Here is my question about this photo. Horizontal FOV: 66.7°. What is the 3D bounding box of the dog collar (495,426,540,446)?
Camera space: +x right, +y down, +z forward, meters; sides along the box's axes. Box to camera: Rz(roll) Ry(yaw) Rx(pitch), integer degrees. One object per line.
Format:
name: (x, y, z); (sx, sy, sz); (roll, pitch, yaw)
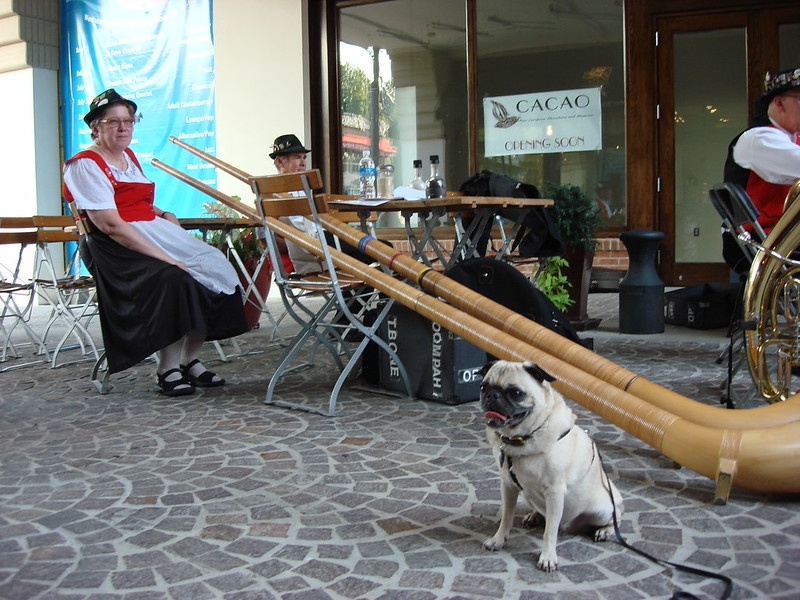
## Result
dog collar: (0.331, 0.390, 1.719); (0.107, 0.048, 0.028); (1, 9, 22)

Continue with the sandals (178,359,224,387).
sandals: (-1.318, 0.477, 4.014); (0.367, 0.149, 0.123); (4, 7, 14)

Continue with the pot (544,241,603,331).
pot: (1.511, -0.110, 5.197); (0.239, 0.733, 0.500); (5, 11, 41)

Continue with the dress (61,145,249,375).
dress: (-1.539, -0.273, 3.820); (0.952, 1.337, 0.566); (-7, 9, -28)

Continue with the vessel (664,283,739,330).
vessel: (2.599, 0.051, 5.224); (0.555, 0.365, 0.379); (1, 9, 20)

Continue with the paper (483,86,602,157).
paper: (1.863, -2.329, 7.993); (1.532, 0.809, 0.024); (-1, 26, 18)

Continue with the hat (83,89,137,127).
hat: (-1.842, -1.206, 3.787); (0.275, 0.230, 0.238); (-3, 8, -2)

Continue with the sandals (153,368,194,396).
sandals: (-1.428, 0.516, 3.787); (0.273, 0.112, 0.125); (0, -2, 43)

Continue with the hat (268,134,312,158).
hat: (-0.931, -1.209, 4.782); (0.265, 0.101, 0.228); (-8, 6, 40)
